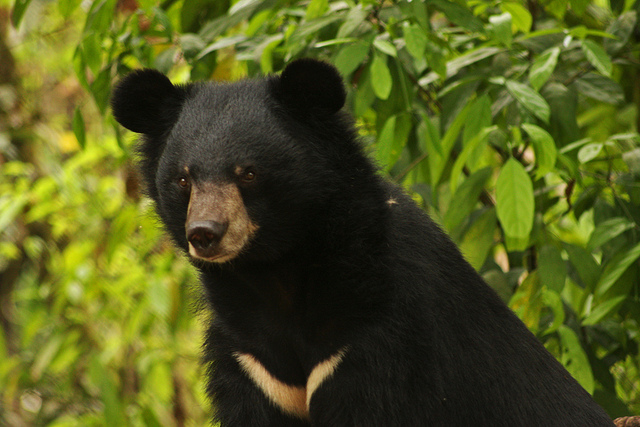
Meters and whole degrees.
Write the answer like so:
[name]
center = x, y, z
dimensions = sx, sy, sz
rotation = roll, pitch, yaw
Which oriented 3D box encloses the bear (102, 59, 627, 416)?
[bear]
center = 0.024, 0.154, 3.223
dimensions = 2.125, 1.678, 0.626
rotation = 5, -4, -4
